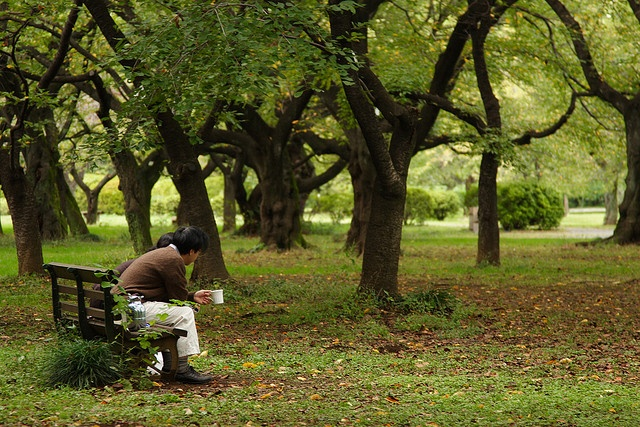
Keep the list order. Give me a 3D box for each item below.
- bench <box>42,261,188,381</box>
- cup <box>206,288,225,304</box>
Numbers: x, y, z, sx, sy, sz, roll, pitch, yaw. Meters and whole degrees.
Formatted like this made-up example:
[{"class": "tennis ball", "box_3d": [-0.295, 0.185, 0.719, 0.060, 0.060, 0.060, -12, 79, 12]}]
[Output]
[{"class": "bench", "box_3d": [-4.121, 2.023, 17.146, 1.627, 1.812, 3.019, -1, -13, 6]}, {"class": "cup", "box_3d": [-1.966, 1.612, 17.093, 0.289, 0.251, 0.402, -1, -7, -30]}]
